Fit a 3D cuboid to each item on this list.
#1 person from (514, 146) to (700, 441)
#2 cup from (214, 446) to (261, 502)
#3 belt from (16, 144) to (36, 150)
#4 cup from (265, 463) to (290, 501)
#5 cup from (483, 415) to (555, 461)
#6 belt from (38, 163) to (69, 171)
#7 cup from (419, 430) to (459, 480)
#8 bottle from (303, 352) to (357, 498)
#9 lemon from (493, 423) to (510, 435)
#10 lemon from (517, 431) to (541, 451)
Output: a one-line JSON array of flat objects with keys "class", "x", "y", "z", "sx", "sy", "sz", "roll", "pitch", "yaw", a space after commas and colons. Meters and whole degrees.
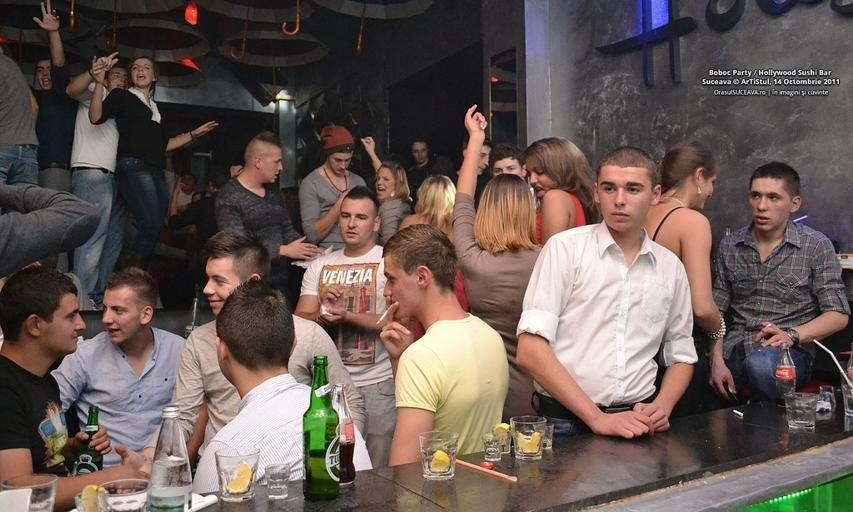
[{"class": "person", "x": 0.944, "y": 0.161, "z": 3.345, "sx": 0.965, "sy": 1.458, "sz": 0.423, "roll": -2, "pitch": 4, "yaw": 4}, {"class": "cup", "x": -0.765, "y": 0.895, "z": 2.691, "sx": 0.211, "sy": 0.193, "sz": 0.182, "roll": 1, "pitch": 2, "yaw": -3}, {"class": "belt", "x": -2.916, "y": -0.807, "z": 4.705, "sx": 0.124, "sy": 0.037, "sz": 0.015, "roll": -4, "pitch": 4, "yaw": -36}, {"class": "cup", "x": -0.602, "y": 0.923, "z": 2.696, "sx": 0.142, "sy": 0.145, "sz": 0.135, "roll": -1, "pitch": 1, "yaw": 0}, {"class": "cup", "x": 0.446, "y": 0.848, "z": 3.030, "sx": 0.211, "sy": 0.159, "sz": 0.243, "roll": -4, "pitch": -9, "yaw": 28}, {"class": "belt", "x": -2.765, "y": -0.674, "z": 4.784, "sx": 0.188, "sy": 0.044, "sz": 0.031, "roll": -3, "pitch": 4, "yaw": -29}, {"class": "cup", "x": 0.055, "y": 0.878, "z": 2.911, "sx": 0.195, "sy": 0.193, "sz": 0.191, "roll": -1, "pitch": 0, "yaw": 0}, {"class": "bottle", "x": -0.419, "y": 0.705, "z": 2.699, "sx": 0.216, "sy": 0.585, "sz": 0.134, "roll": -3, "pitch": 4, "yaw": -8}, {"class": "lemon", "x": 0.358, "y": 0.816, "z": 3.060, "sx": 0.051, "sy": 0.031, "sz": 0.052, "roll": 3, "pitch": 1, "yaw": 6}, {"class": "lemon", "x": 0.482, "y": 0.853, "z": 2.995, "sx": 0.094, "sy": 0.058, "sz": 0.089, "roll": 2, "pitch": -11, "yaw": -12}]
